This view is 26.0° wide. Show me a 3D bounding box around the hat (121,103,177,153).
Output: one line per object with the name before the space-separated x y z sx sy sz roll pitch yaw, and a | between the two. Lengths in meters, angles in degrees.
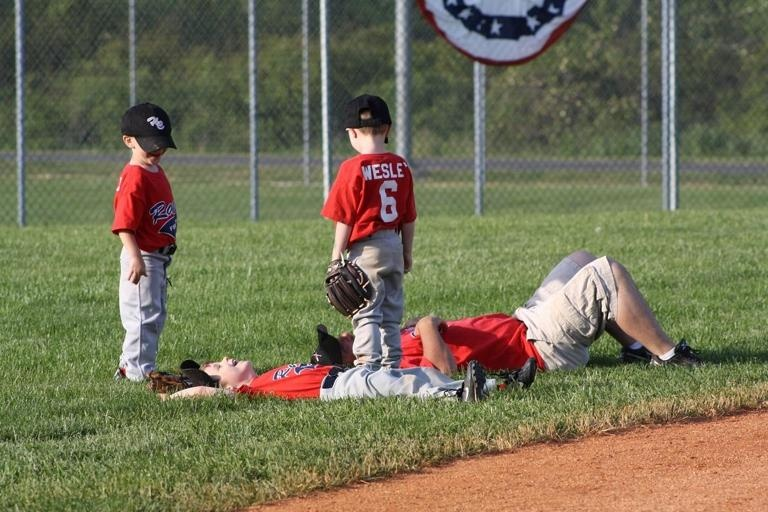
hat | -2.793 -1.545 19.882 0.474 0.396 0.701 -18 41 -40

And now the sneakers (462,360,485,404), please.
sneakers | 1.019 1.479 19.037 0.175 0.561 0.244 2 -8 2

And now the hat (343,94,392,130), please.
hat | -0.194 -1.697 19.744 0.408 0.274 0.428 -1 11 0

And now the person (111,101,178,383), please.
person | -2.854 -0.164 19.806 0.782 3.296 0.616 -2 3 -12

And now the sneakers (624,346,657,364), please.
sneakers | 3.025 1.204 19.758 0.370 0.181 0.142 1 1 5

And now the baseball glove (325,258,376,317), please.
baseball glove | -0.479 0.448 19.610 0.449 0.569 0.345 -28 4 13

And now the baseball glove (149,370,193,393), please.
baseball glove | -2.546 1.502 19.510 0.342 0.160 0.274 -3 3 8
